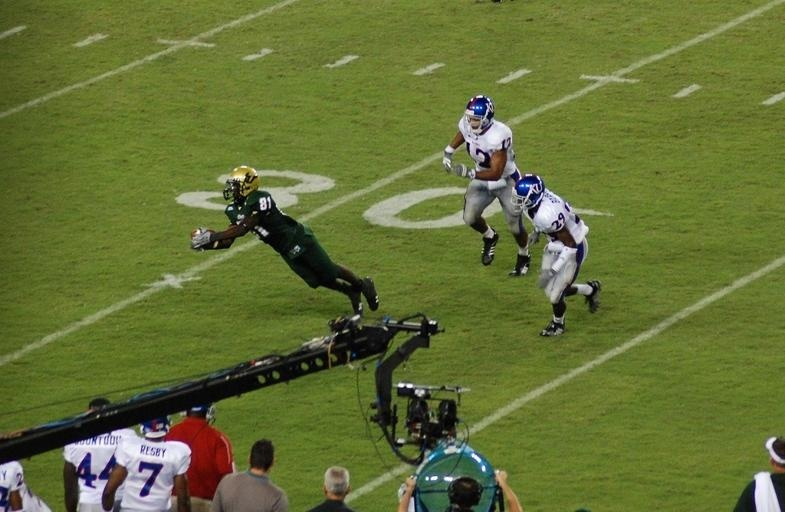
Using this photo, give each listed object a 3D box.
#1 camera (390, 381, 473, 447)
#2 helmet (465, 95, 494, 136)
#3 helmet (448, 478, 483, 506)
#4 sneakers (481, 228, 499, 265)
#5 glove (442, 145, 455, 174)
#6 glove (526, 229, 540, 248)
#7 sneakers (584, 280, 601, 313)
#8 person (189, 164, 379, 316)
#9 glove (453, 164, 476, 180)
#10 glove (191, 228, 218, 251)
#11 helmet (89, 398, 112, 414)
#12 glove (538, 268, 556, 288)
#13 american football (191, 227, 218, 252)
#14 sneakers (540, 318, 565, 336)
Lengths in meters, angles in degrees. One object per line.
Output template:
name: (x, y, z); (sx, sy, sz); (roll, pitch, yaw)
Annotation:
camera: (0.325, 1.354, 12.957); (0.538, 0.539, 0.591); (6, 55, 23)
helmet: (0.958, -1.642, 17.063); (0.398, 0.339, 0.411); (1, 25, 15)
helmet: (0.622, 1.969, 12.525); (0.293, 0.257, 0.169); (2, 62, -4)
sneakers: (1.169, -0.135, 17.498); (0.183, 0.234, 0.410); (15, 98, 31)
glove: (0.668, -1.174, 17.524); (0.213, 0.132, 0.332); (7, 76, 0)
glove: (1.601, -0.228, 16.835); (0.154, 0.162, 0.077); (17, 23, -11)
sneakers: (2.224, 0.420, 16.463); (0.217, 0.337, 0.139); (-9, 22, -4)
person: (-1.215, -0.187, 16.531); (0.853, 2.504, 1.158); (-5, 76, 57)
glove: (0.817, -0.966, 16.819); (0.286, 0.086, 0.145); (9, 46, 5)
glove: (-1.951, -0.201, 15.532); (0.242, 0.313, 0.148); (8, 97, 26)
helmet: (-2.552, 1.279, 13.050); (0.167, 0.121, 0.113); (-35, 83, 7)
glove: (1.679, 0.214, 16.108); (0.210, 0.147, 0.117); (-47, 43, -16)
american football: (-1.959, -0.195, 15.546); (0.255, 0.306, 0.147); (0, 91, -8)
sneakers: (1.759, 0.753, 16.215); (0.323, 0.106, 0.141); (-5, 27, -6)
